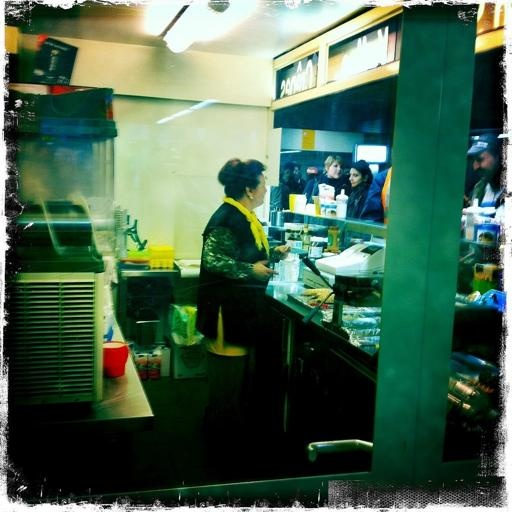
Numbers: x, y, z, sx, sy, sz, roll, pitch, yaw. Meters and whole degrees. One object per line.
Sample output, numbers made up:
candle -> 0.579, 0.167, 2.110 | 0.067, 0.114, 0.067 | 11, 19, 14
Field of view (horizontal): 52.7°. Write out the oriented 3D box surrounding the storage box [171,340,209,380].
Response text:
storage box -> -0.218, 0.341, 1.715 | 0.119, 0.106, 0.115 | 0, 4, -13

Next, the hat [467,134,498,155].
hat -> 0.711, -0.350, 1.633 | 0.090, 0.055, 0.064 | 4, 3, 6

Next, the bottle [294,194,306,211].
bottle -> 0.150, -0.190, 1.878 | 0.050, 0.067, 0.047 | 2, 0, 0

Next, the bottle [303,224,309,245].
bottle -> 0.185, -0.079, 1.905 | 0.021, 0.076, 0.040 | 5, 3, 9

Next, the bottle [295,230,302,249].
bottle -> 0.154, -0.058, 1.863 | 0.016, 0.063, 0.091 | 5, 3, 15

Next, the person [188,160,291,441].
person -> -0.073, 0.121, 1.751 | 0.194, 0.876, 0.290 | 7, 4, 41

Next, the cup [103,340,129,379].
cup -> -0.388, 0.288, 1.430 | 0.065, 0.094, 0.077 | 3, 3, -16
